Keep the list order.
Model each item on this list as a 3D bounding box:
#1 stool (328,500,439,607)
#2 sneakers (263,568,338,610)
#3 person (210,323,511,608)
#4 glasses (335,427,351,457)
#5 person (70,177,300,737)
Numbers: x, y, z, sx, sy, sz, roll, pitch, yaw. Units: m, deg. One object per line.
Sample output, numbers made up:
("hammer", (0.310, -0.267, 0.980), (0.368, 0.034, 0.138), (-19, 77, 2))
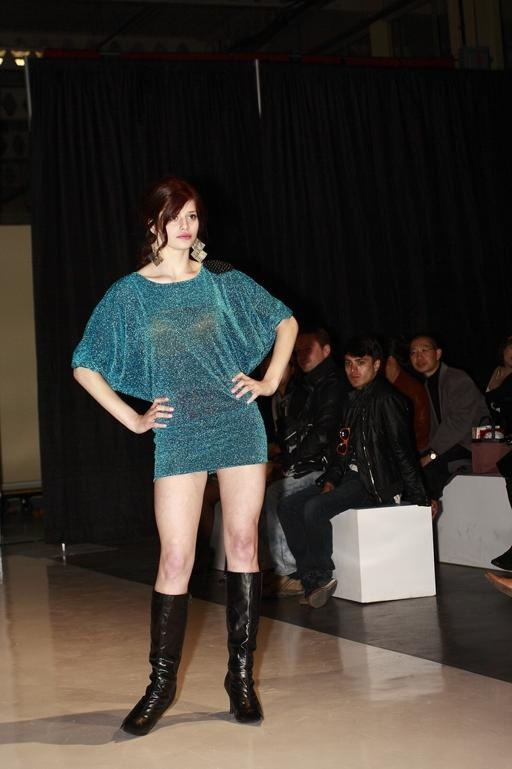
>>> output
("stool", (0.570, 0.774, 3.092), (0.471, 0.425, 0.446), (-4, -3, 5))
("sneakers", (0.194, 0.958, 3.055), (0.142, 0.166, 0.413), (-2, -17, -39))
("person", (0.532, 0.432, 3.032), (1.472, 1.243, 0.342), (1, -14, 4))
("glasses", (0.434, 0.282, 3.215), (0.038, 0.115, 0.117), (8, 33, 14))
("person", (-0.148, 0.176, 1.451), (0.414, 1.179, 0.387), (-7, -11, 20))
